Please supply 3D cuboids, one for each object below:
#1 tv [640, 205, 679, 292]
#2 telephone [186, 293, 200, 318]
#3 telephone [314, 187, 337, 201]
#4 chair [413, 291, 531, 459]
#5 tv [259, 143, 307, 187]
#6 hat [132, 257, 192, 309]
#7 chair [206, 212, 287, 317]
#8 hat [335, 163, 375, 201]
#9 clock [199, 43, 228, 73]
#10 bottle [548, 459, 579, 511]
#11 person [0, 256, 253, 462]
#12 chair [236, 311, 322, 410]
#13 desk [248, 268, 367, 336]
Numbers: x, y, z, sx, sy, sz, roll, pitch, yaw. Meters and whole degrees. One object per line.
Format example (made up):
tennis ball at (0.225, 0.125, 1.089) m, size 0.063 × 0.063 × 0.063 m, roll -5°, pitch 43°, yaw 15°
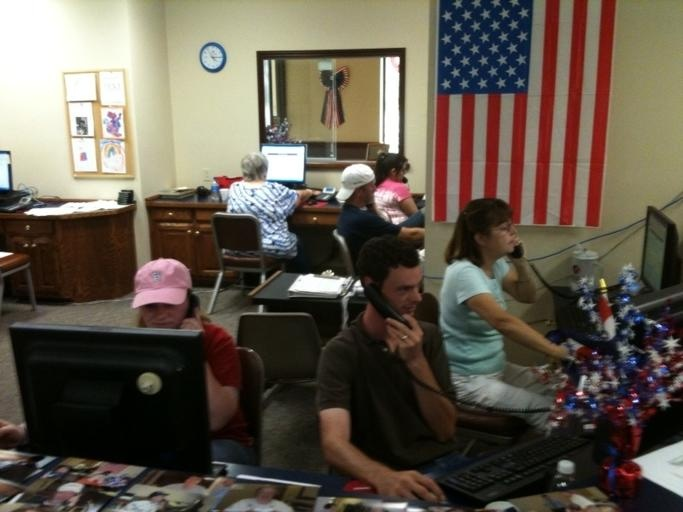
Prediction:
tv at (1.562, -0.033, 2.586) m, size 0.142 × 0.400 × 0.420 m, roll -1°, pitch 12°, yaw 13°
telephone at (-0.527, 0.174, 1.915) m, size 0.061 × 0.072 × 0.068 m, roll 2°, pitch -9°, yaw 2°
telephone at (-0.145, -0.614, 5.303) m, size 0.124 × 0.075 × 0.220 m, roll 4°, pitch 16°, yaw 15°
chair at (0.350, 0.395, 1.589) m, size 0.338 × 0.371 × 0.239 m, roll -1°, pitch 8°, yaw 7°
tv at (-0.589, -0.910, 5.340) m, size 0.561 × 0.496 × 0.066 m, roll 5°, pitch 10°, yaw 8°
hat at (-0.628, 0.077, 1.859) m, size 0.208 × 0.145 × 0.269 m, roll -4°, pitch 12°, yaw -8°
chair at (-0.801, 0.036, 4.682) m, size 0.706 × 0.836 × 0.765 m, roll 9°, pitch 12°, yaw 44°
hat at (0.091, -0.580, 4.006) m, size 0.362 × 0.178 × 0.238 m, roll -27°, pitch 25°, yaw -13°
clock at (-1.320, -2.050, 5.494) m, size 0.308 × 0.282 × 0.044 m, roll 3°, pitch 12°, yaw 13°
bottle at (0.546, 0.553, 1.298) m, size 0.066 × 0.101 × 0.068 m, roll 8°, pitch -3°, yaw 0°
person at (-0.559, 0.328, 2.051) m, size 0.692 × 0.905 × 0.780 m, roll 1°, pitch 4°, yaw 3°
chair at (-0.269, 0.495, 2.683) m, size 0.390 × 0.511 × 0.432 m, roll 1°, pitch 12°, yaw 5°
desk at (-0.213, 0.248, 3.285) m, size 0.560 × 0.473 × 0.416 m, roll 3°, pitch 19°, yaw 6°
